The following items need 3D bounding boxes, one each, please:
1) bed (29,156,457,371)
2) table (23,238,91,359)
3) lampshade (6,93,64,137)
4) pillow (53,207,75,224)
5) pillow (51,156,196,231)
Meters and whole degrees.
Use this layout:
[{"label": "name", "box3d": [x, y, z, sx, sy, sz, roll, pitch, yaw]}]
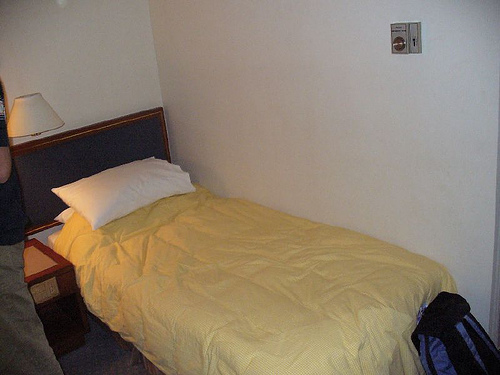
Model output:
[{"label": "bed", "box3d": [-0.098, 0.515, 2.552, 2.609, 0.631, 1.340, 12, 34, 29]}, {"label": "table", "box3d": [-1.300, 0.765, 2.960, 0.403, 0.735, 0.654, -20, 22, -41]}, {"label": "lampshade", "box3d": [-1.620, -0.541, 2.854, 0.278, 0.455, 0.312, 12, 25, 44]}, {"label": "pillow", "box3d": [-1.534, 0.214, 3.165, 0.135, 0.048, 0.153, 2, 44, 38]}, {"label": "pillow", "box3d": [-0.992, 0.021, 3.322, 0.994, 0.237, 0.632, -26, 30, -33]}]
